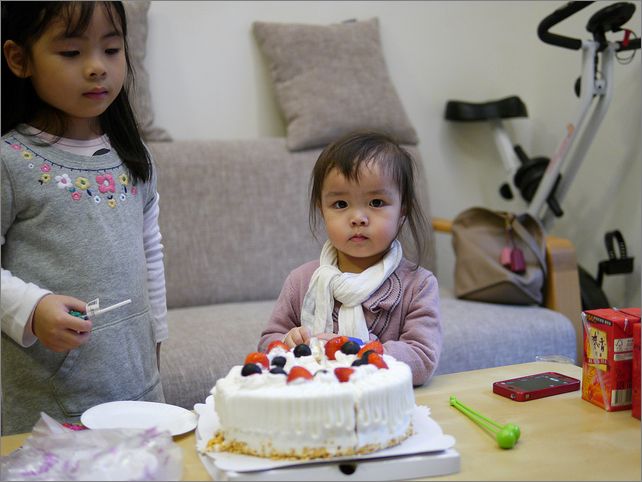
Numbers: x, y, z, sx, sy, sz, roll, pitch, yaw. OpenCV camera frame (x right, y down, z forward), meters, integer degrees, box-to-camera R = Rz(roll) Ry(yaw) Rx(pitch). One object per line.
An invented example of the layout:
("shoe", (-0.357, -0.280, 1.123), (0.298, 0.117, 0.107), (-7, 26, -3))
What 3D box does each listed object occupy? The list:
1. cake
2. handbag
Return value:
("cake", (-0.027, 0.233, 0.945), (0.230, 0.104, 0.195), (-4, -1, 27))
("handbag", (0.656, 0.062, 2.062), (0.313, 0.332, 0.160), (3, 2, 44))
